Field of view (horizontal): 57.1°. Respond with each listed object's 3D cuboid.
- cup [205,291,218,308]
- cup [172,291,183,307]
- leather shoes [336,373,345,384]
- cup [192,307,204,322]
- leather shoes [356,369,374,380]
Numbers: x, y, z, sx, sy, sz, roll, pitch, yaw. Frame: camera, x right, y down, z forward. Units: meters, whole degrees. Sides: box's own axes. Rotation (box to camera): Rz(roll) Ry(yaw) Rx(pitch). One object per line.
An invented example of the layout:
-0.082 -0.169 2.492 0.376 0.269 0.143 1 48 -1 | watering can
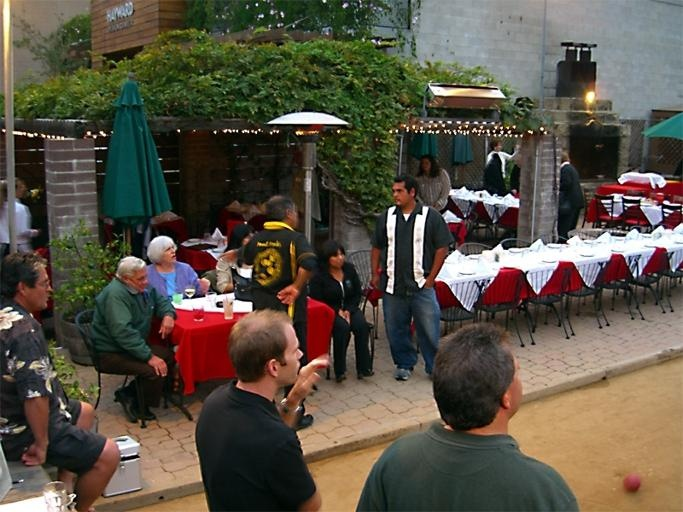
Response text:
-1.459 0.500 7.047 0.141 0.175 0.150 0 -1 0 | cup
-1.869 0.495 7.189 0.108 0.118 0.116 0 -2 0 | cup
0.000 1.453 7.545 0.133 0.109 0.095 -4 15 -19 | leather shoes
-1.512 0.619 6.653 0.116 0.136 0.121 0 0 0 | cup
0.279 1.416 7.699 0.225 0.166 0.077 -10 18 -22 | leather shoes
